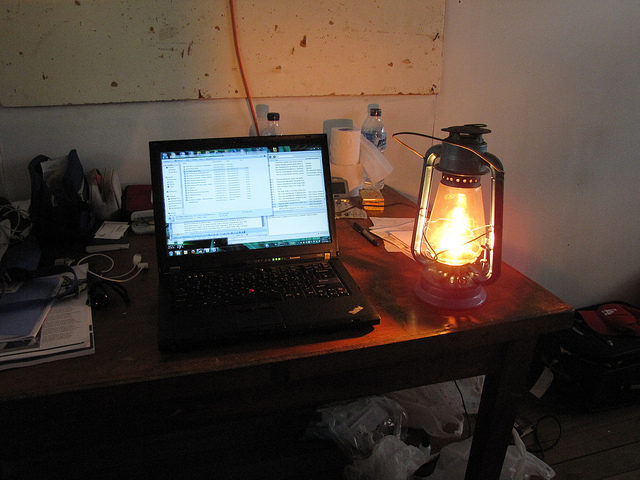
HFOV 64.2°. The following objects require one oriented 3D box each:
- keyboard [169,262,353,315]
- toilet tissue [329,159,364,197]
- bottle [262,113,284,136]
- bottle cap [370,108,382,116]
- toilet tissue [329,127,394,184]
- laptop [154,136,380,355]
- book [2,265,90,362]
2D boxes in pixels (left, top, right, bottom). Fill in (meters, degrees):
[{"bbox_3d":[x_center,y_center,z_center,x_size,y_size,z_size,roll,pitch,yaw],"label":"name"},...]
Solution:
[{"bbox_3d":[-0.165,0.124,1.358,0.473,0.049,0.156,-5,18,-9],"label":"keyboard"},{"bbox_3d":[0.107,-0.246,2.021,0.132,0.095,0.129,-5,20,-15],"label":"toilet tissue"},{"bbox_3d":[-0.184,-0.439,1.935,0.080,0.084,0.132,-5,18,-9],"label":"bottle"},{"bbox_3d":[0.219,-0.502,2.012,0.049,0.027,0.029,-6,18,-12],"label":"bottle cap"},{"bbox_3d":[0.196,-0.346,1.920,0.159,0.131,0.345,-4,15,-28],"label":"toilet tissue"},{"bbox_3d":[-0.166,-0.016,1.324,0.560,0.381,0.479,-4,29,-11],"label":"laptop"},{"bbox_3d":[-0.668,0.210,1.241,0.188,0.074,0.192,-8,19,-20],"label":"book"}]
